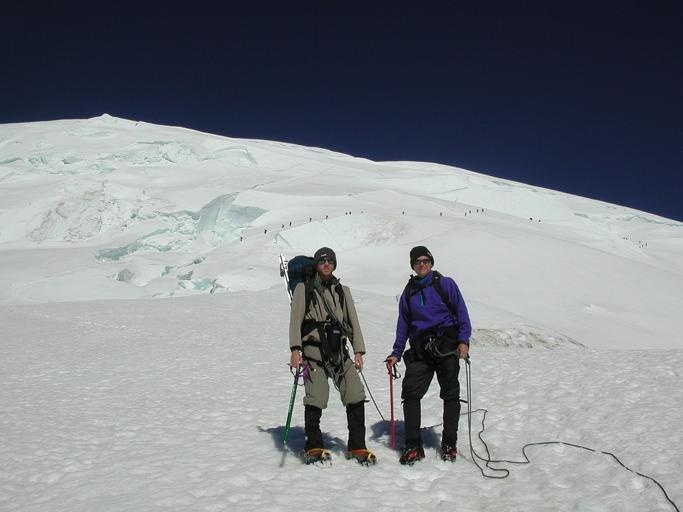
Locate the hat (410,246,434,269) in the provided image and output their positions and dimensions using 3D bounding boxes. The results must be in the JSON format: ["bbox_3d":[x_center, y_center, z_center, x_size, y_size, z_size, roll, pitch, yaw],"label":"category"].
[{"bbox_3d":[1.295,0.011,9.621,0.421,0.298,0.381,-1,-12,-7],"label":"hat"}]

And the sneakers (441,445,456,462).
[{"bbox_3d":[1.715,2.884,9.444,0.257,0.244,0.172,5,8,7],"label":"sneakers"}]

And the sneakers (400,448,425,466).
[{"bbox_3d":[1.009,2.891,9.276,0.522,0.177,0.167,8,-16,-35],"label":"sneakers"}]

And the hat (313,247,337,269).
[{"bbox_3d":[-0.251,0.013,9.462,0.350,0.241,0.368,4,-12,-6],"label":"hat"}]

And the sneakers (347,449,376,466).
[{"bbox_3d":[0.332,2.873,9.216,0.464,0.140,0.198,-1,0,33],"label":"sneakers"}]

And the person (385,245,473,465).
[{"bbox_3d":[1.385,1.419,9.457,1.172,3.117,0.939,13,12,43],"label":"person"}]

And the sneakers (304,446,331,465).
[{"bbox_3d":[-0.374,2.858,9.210,0.376,0.188,0.253,-6,-4,11],"label":"sneakers"}]

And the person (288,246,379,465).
[{"bbox_3d":[-0.181,1.395,9.364,1.306,3.049,0.928,4,8,-4],"label":"person"}]
